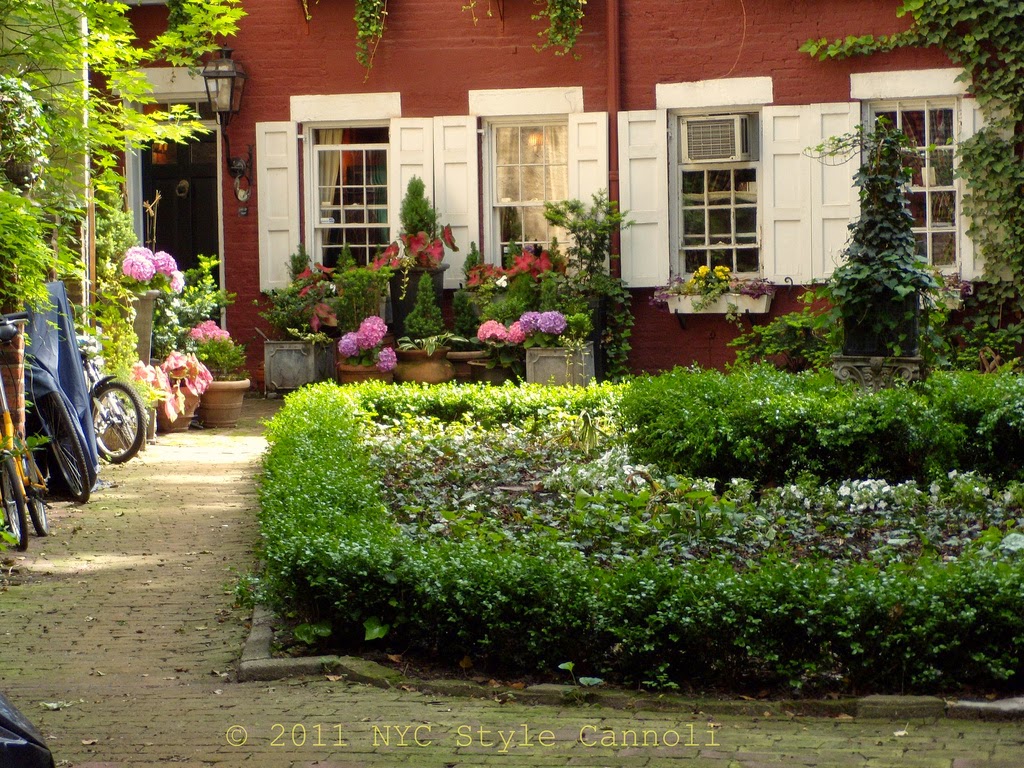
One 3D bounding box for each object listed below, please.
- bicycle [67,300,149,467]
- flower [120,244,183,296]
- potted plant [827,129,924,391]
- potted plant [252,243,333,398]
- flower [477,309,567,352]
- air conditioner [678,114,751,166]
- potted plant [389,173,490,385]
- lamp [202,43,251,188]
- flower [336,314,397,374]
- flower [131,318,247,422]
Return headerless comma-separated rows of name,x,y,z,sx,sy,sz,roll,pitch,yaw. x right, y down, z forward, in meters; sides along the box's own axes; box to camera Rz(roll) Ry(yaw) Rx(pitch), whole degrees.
bicycle,-3.101,0.019,10.539,0.666,1.092,0.544,-13,5,3
flower,-3.168,-0.996,11.652,0.451,0.269,0.359,0,12,-35
potted plant,2.355,-0.818,8.456,0.624,1.526,0.911,1,13,15
potted plant,-2.213,-0.632,13.663,0.798,1.384,1.247,-5,13,-10
flower,0.089,-0.534,12.935,0.570,0.216,0.446,-11,7,-8
air conditioner,2.082,-2.519,13.723,0.661,0.437,0.384,0,1,13
potted plant,-0.861,-1.070,13.523,0.841,2.004,1.217,-4,13,-4
lamp,-3.018,-2.773,14.076,0.395,1.585,0.470,-3,12,-1
flower,-1.446,-0.365,13.118,0.583,0.594,0.502,-4,13,-5
flower,-2.910,-0.101,12.086,0.868,0.927,0.815,2,-5,-6
